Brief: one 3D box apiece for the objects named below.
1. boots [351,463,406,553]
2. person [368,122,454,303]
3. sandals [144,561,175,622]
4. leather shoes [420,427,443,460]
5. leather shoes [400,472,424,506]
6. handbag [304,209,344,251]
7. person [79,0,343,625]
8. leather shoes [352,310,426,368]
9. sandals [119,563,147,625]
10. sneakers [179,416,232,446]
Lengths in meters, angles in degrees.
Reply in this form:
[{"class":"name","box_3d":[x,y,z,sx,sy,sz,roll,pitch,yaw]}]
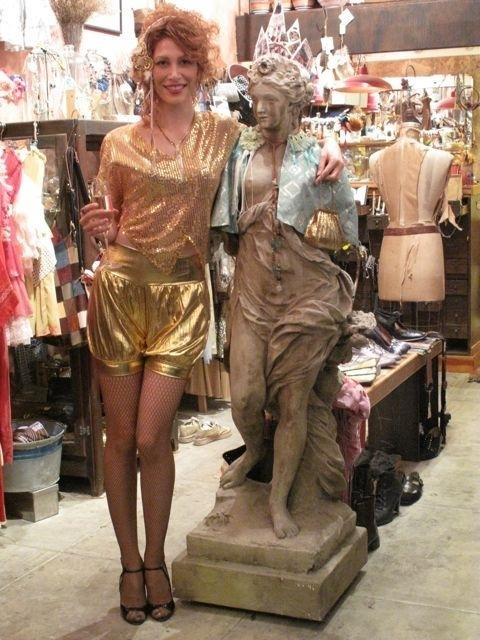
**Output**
[{"class":"boots","box_3d":[0.591,0.732,2.108,0.145,0.234,0.505,0,3,18]},{"class":"person","box_3d":[1.287,-0.798,3.864,0.576,1.293,0.476,-2,-4,21]},{"class":"sandals","box_3d":[-0.228,0.728,1.442,0.059,0.073,0.185,-10,52,-14]},{"class":"leather shoes","box_3d":[1.172,0.761,3.168,0.111,0.203,0.101,13,8,-5]},{"class":"leather shoes","box_3d":[0.849,0.834,2.527,0.074,0.084,0.210,0,-1,16]},{"class":"handbag","box_3d":[0.231,-0.258,1.452,0.101,0.092,0.050,17,-7,-38]},{"class":"person","box_3d":[-0.189,0.010,1.375,0.418,1.638,0.456,0,-4,-16]},{"class":"leather shoes","box_3d":[0.802,0.111,2.767,0.304,0.096,0.244,24,21,26]},{"class":"sandals","box_3d":[-0.290,0.751,1.413,0.055,0.070,0.172,-1,10,-10]},{"class":"sneakers","box_3d":[-0.238,0.765,3.561,0.155,0.107,0.289,5,5,31]}]
